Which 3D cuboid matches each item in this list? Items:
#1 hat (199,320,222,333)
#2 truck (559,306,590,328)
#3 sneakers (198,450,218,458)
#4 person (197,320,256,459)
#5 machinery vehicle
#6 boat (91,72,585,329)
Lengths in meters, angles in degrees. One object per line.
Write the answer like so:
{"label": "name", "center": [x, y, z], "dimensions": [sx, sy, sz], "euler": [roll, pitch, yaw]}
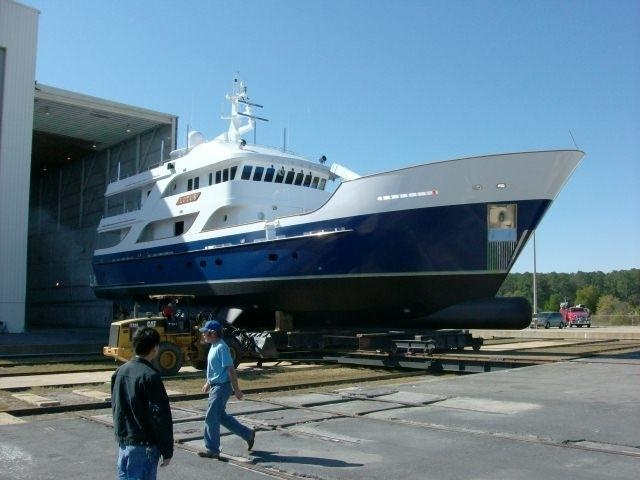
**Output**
{"label": "hat", "center": [-1.345, 1.077, 7.797], "dimensions": [0.332, 0.127, 0.194], "euler": [0, -2, -1]}
{"label": "truck", "center": [15.433, 4.606, 37.440], "dimensions": [1.296, 0.911, 2.524], "euler": [-1, -10, 0]}
{"label": "sneakers", "center": [-1.352, 2.631, 7.681], "dimensions": [0.267, 0.094, 0.081], "euler": [11, -9, 2]}
{"label": "person", "center": [-1.202, 1.846, 7.861], "dimensions": [0.678, 1.656, 0.458], "euler": [-2, -3, -9]}
{"label": "machinery vehicle", "center": [-3.015, 2.074, 13.727], "dimensions": [1.558, 1.343, 3.549], "euler": [-3, -6, 41]}
{"label": "boat", "center": [-0.551, 0.262, 19.937], "dimensions": [17.608, 5.713, 4.048], "euler": [-3, -20, 42]}
